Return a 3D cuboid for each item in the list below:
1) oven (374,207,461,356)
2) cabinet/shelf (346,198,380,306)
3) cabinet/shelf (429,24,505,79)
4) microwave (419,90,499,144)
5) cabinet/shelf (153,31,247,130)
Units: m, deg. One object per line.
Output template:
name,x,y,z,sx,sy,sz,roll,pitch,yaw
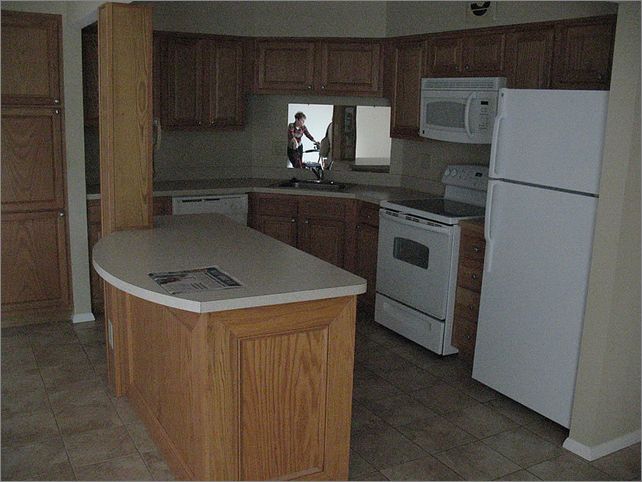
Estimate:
oven,0.979,0.250,4.424,0.733,1.045,0.819,-6,16,-30
cabinet/shelf,0.373,0.104,4.906,0.127,0.943,0.453,-9,17,-31
cabinet/shelf,1.154,-1.517,4.373,0.734,0.343,0.251,-8,22,-16
microwave,1.210,-1.041,4.286,0.507,0.466,0.760,-8,18,-31
cabinet/shelf,-1.250,-1.605,5.316,0.525,0.948,1.054,26,29,39
